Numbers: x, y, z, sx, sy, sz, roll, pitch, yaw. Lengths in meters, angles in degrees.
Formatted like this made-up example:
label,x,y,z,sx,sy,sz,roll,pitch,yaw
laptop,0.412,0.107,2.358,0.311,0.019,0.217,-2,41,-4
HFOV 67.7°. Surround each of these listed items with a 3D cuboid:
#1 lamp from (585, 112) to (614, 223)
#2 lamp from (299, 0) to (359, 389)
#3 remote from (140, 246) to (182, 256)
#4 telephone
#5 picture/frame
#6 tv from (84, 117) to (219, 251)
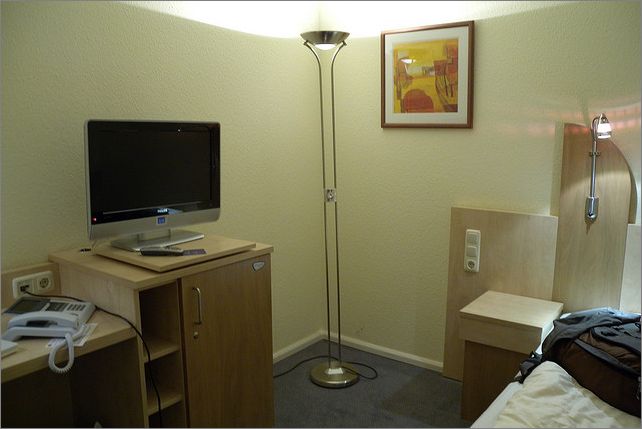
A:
label,x,y,z,sx,sy,sz,roll,pitch,yaw
lamp,1.731,-0.285,2.977,0.127,0.668,0.163,3,9,31
lamp,0.063,-0.374,3.737,0.370,2.173,0.358,-4,-8,16
remote,-0.844,0.192,2.554,0.176,0.041,0.084,1,5,-10
telephone,-1.314,0.540,2.278,0.326,0.122,0.444,4,20,-5
picture/frame,0.801,-1.041,3.464,0.815,0.866,0.041,3,7,29
tv,-0.941,-0.173,2.594,0.247,0.636,0.717,4,7,41
